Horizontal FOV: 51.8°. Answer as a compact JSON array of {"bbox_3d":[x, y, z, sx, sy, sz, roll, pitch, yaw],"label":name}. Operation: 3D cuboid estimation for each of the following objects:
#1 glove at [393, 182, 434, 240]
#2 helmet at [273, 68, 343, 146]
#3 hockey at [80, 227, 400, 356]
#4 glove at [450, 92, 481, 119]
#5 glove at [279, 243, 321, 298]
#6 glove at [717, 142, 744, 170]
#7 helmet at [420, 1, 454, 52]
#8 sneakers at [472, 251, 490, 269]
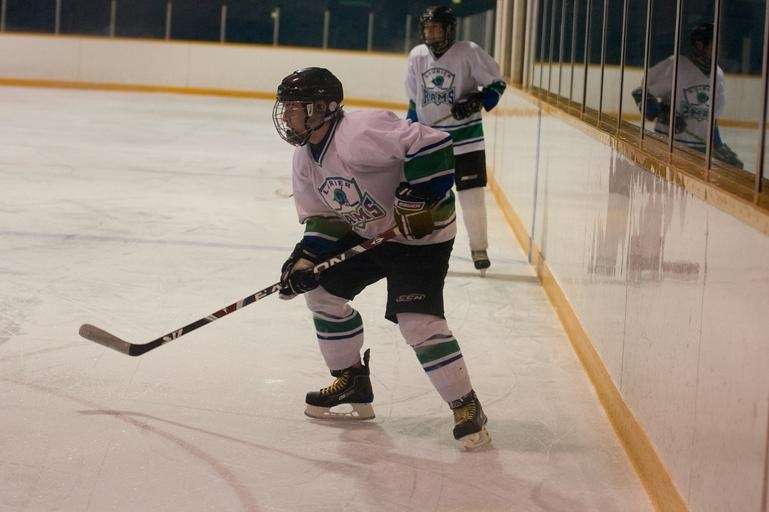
[{"bbox_3d":[0.106,-0.168,2.967,0.147,0.210,0.095,0,11,-9],"label":"glove"},{"bbox_3d":[-0.289,-0.572,3.112,0.325,0.294,0.242,-13,8,-14],"label":"helmet"},{"bbox_3d":[-0.720,0.190,3.813,1.331,0.187,0.065,-23,-32,12],"label":"hockey"},{"bbox_3d":[0.492,-0.906,4.796,0.203,0.108,0.073,-24,50,-38],"label":"glove"},{"bbox_3d":[-0.339,0.064,3.077,0.090,0.187,0.199,22,1,-11],"label":"glove"},{"bbox_3d":[1.102,-0.318,2.553,0.036,0.031,0.100,39,12,-27],"label":"glove"},{"bbox_3d":[0.319,-1.373,4.804,0.205,0.270,0.291,2,11,3],"label":"helmet"},{"bbox_3d":[0.579,0.023,4.821,0.081,0.069,0.113,-7,47,0],"label":"sneakers"}]
